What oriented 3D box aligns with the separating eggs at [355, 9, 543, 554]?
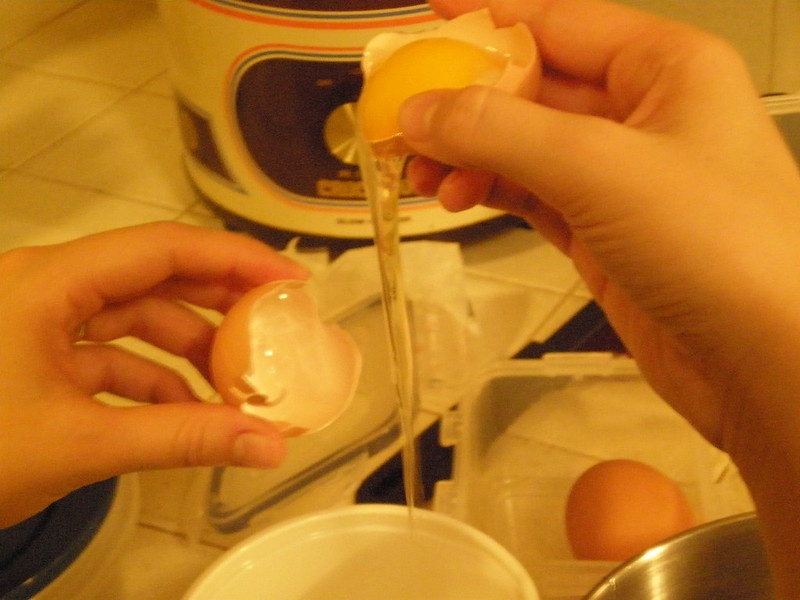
[{"bbox_3d":[0.051,0.023,0.741,0.176,0.120,0.576,-1,92,10],"label":"separating eggs"}]
